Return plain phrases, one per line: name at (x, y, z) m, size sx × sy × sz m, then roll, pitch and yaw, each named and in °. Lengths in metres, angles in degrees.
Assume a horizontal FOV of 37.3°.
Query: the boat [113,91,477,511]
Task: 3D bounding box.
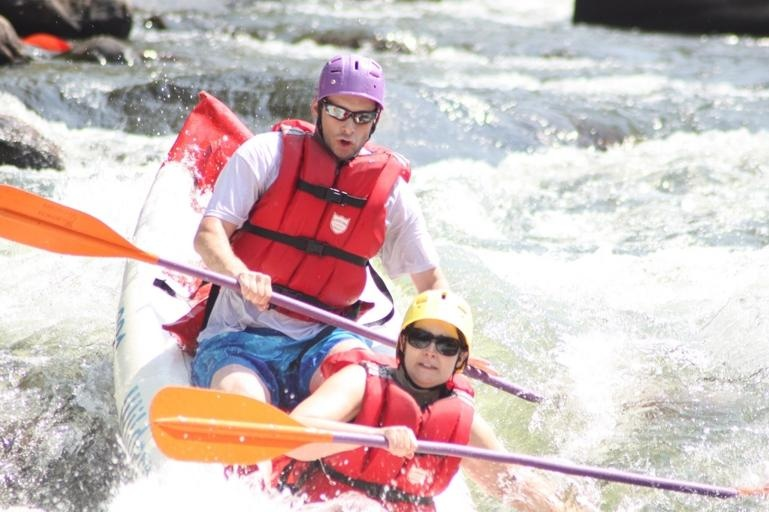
boat at (-1.017, -0.064, 8.975) m, size 2.029 × 1.207 × 3.796 m, roll 18°, pitch 51°, yaw -33°
